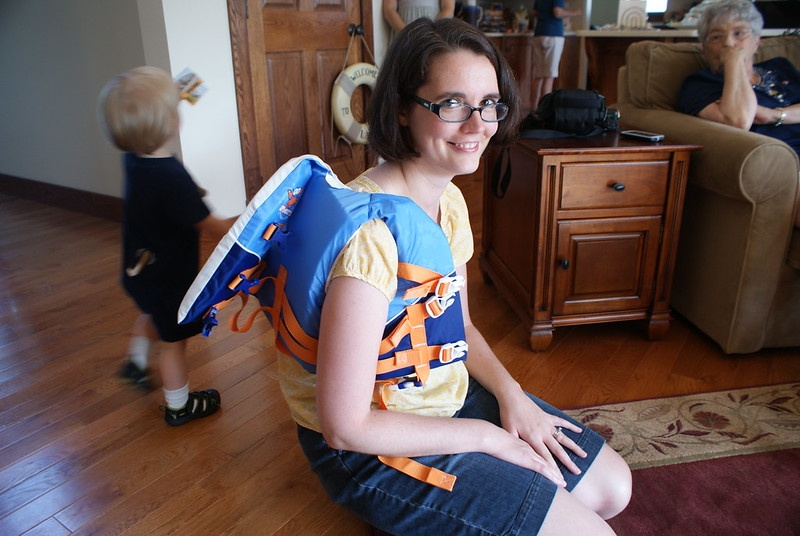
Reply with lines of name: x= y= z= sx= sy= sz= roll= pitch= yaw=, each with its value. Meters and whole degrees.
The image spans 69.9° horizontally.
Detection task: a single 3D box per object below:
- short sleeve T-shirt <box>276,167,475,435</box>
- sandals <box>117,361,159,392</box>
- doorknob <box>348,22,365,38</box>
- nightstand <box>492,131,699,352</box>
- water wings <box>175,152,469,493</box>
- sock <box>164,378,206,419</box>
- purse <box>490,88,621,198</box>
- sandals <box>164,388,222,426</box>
short sleeve T-shirt: x=-0.073 y=0.093 z=1.440 sx=0.344 sy=0.706 sz=0.496 roll=-8 pitch=27 yaw=-31
sandals: x=-1.014 y=0.429 z=2.215 sx=0.123 sy=0.084 sz=0.059 roll=34 pitch=39 yaw=-18
doorknob: x=-0.327 y=-1.771 z=4.264 sx=0.099 sy=0.112 sz=0.053 roll=15 pitch=-13 yaw=-28
nightstand: x=0.765 y=-0.196 z=2.802 sx=0.885 sy=1.187 sz=0.889 roll=-3 pitch=21 yaw=-4
water wings: x=-0.262 y=0.008 z=1.809 sx=0.856 sy=0.840 sz=0.676 roll=-27 pitch=25 yaw=13
sock: x=-0.819 y=0.500 z=2.179 sx=0.097 sy=0.093 sz=0.081 roll=-16 pitch=16 yaw=7
purse: x=0.691 y=-0.558 z=2.710 sx=0.523 sy=0.422 sz=0.537 roll=-3 pitch=36 yaw=1
sandals: x=-0.786 y=0.544 z=2.213 sx=0.203 sy=0.092 sz=0.104 roll=-23 pitch=34 yaw=-35
